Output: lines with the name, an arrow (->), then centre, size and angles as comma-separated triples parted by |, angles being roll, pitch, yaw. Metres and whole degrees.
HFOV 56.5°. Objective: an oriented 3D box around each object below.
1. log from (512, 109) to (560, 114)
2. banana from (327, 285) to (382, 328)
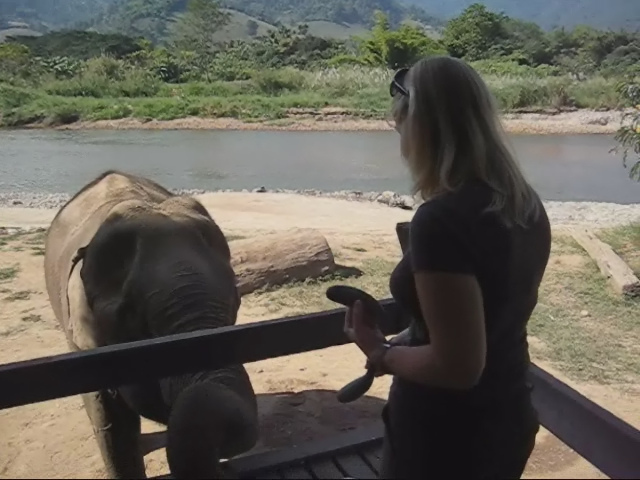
log -> 8.316, -4.931, 22.855 | 1.767, 0.171, 0.523 | -2, 15, -3
banana -> 0.155, 0.272, 2.588 | 0.184, 0.198, 0.046 | 25, 62, 23
